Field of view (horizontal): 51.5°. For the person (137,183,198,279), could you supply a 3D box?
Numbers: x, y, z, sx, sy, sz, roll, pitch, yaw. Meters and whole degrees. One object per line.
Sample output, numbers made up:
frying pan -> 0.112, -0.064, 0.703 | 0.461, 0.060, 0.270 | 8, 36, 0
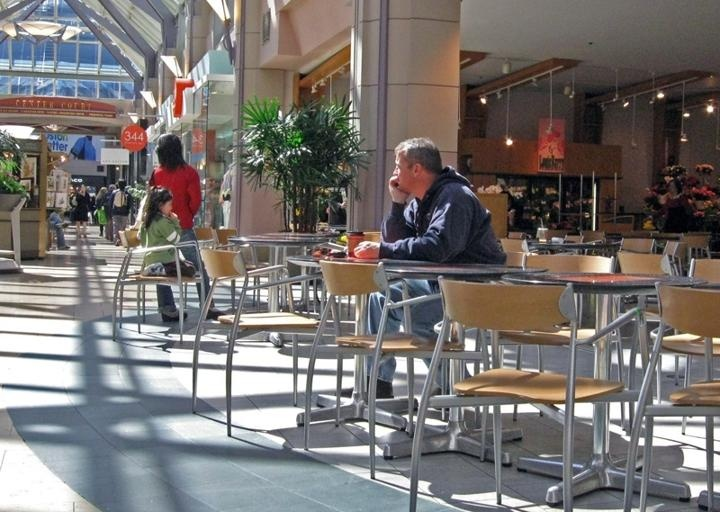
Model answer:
person -> -1.895, -0.242, 7.537 | 0.561, 0.868, 0.538 | -1, -1, -3

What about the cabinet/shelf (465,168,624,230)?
cabinet/shelf -> 4.190, -1.312, 16.723 | 2.112, 1.495, 1.125 | 0, -2, -15

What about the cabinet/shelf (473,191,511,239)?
cabinet/shelf -> 1.806, -0.592, 9.641 | 0.647, 0.756, 0.165 | -1, 3, 4

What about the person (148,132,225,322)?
person -> -1.892, -0.298, 8.234 | 0.755, 2.044, 0.549 | -2, 2, -18

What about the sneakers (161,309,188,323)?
sneakers -> -1.873, 0.594, 7.573 | 0.340, 0.153, 0.126 | -2, 4, -21

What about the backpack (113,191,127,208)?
backpack -> -6.186, -1.481, 19.569 | 0.417, 0.509, 0.274 | 0, -4, -9

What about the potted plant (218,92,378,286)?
potted plant -> -0.591, -1.071, 8.473 | 1.435, 1.633, 1.529 | 0, 0, -3

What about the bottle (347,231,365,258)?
bottle -> -0.020, -0.070, 4.635 | 0.129, 0.149, 0.134 | 2, 5, 11

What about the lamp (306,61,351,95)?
lamp -> -0.700, -3.791, 15.625 | 0.865, 0.242, 2.873 | 1, 1, -14
